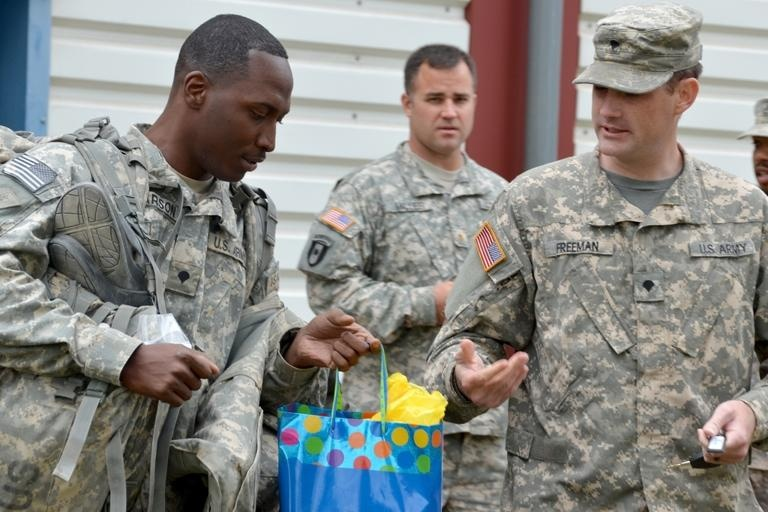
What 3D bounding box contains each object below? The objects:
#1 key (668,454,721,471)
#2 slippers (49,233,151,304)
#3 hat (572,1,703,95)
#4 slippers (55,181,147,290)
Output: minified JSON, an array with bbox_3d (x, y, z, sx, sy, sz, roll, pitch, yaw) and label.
[{"bbox_3d":[1.039,0.688,3.218,0.078,0.018,0.078,-14,3,8],"label":"key"},{"bbox_3d":[-0.948,0.059,3.166,0.398,0.133,0.155,45,-19,-12],"label":"slippers"},{"bbox_3d":[0.909,-0.735,3.352,0.298,0.422,0.150,17,-53,32],"label":"hat"},{"bbox_3d":[-0.928,-0.082,3.220,0.174,0.389,0.156,-23,6,16],"label":"slippers"}]
